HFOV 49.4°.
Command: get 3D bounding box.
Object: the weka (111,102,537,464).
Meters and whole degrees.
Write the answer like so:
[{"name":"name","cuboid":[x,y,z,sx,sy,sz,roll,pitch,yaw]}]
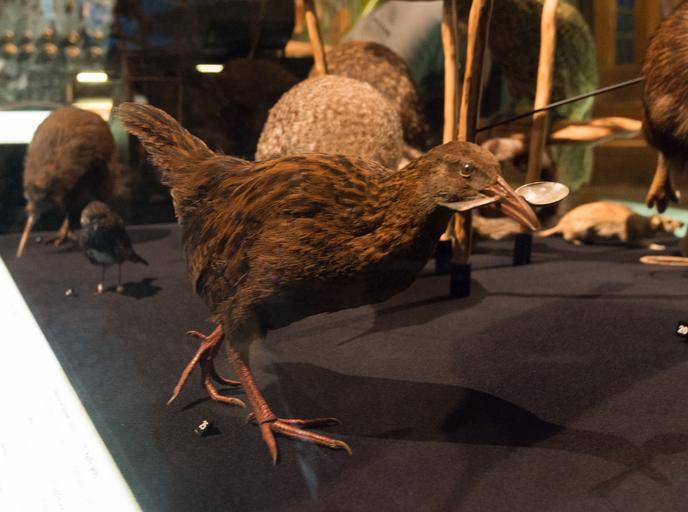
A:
[{"name":"weka","cuboid":[-0.034,-0.012,1.220,0.682,0.438,0.331,16,39,27]}]
